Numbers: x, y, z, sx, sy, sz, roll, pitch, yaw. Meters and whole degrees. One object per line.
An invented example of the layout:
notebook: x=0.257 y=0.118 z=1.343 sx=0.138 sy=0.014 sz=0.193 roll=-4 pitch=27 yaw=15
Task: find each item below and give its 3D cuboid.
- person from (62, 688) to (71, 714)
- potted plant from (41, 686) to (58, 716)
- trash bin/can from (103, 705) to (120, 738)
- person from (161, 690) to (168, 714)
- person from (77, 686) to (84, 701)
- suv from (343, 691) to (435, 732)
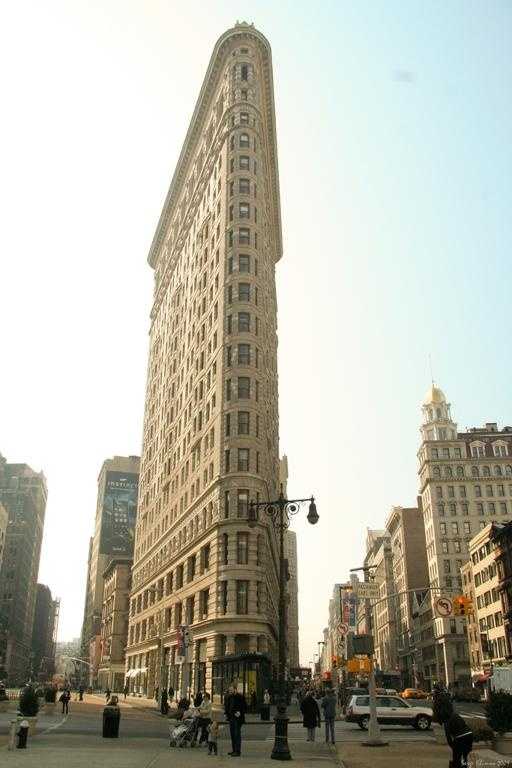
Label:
person: x=-11.774 y=19.784 z=38.995 sx=0.473 sy=1.323 sz=2.775 roll=6 pitch=-29 yaw=-14
potted plant: x=-12.051 y=18.535 z=36.790 sx=0.643 sy=1.469 sz=1.861 roll=8 pitch=-28 yaw=-17
trash bin/can: x=-5.004 y=11.799 z=21.821 sx=0.541 sy=0.981 sz=1.194 roll=5 pitch=-27 yaw=-12
person: x=-6.139 y=21.548 z=42.397 sx=0.461 sy=1.525 sz=1.715 roll=3 pitch=-27 yaw=-7
person: x=-17.507 y=31.173 z=63.012 sx=0.320 sy=1.274 sz=2.016 roll=8 pitch=-28 yaw=-17
suv: x=5.916 y=14.563 z=27.770 sx=3.612 sy=1.436 sz=2.001 roll=-8 pitch=-28 yaw=13
